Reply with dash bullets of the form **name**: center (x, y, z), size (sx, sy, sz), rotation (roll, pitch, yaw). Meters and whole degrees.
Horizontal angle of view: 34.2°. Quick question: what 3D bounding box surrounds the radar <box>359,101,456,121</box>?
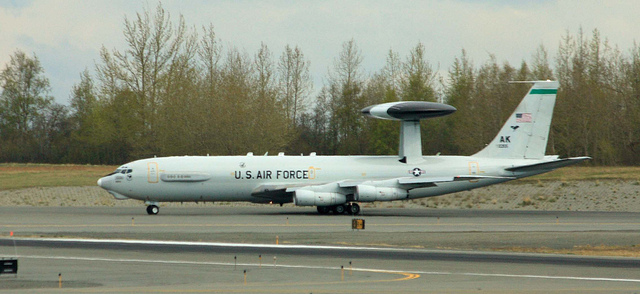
- **radar**: center (14.778, -6.099, 175.526), size (13.712, 3.262, 6.613), rotation (-1, 2, -5)
